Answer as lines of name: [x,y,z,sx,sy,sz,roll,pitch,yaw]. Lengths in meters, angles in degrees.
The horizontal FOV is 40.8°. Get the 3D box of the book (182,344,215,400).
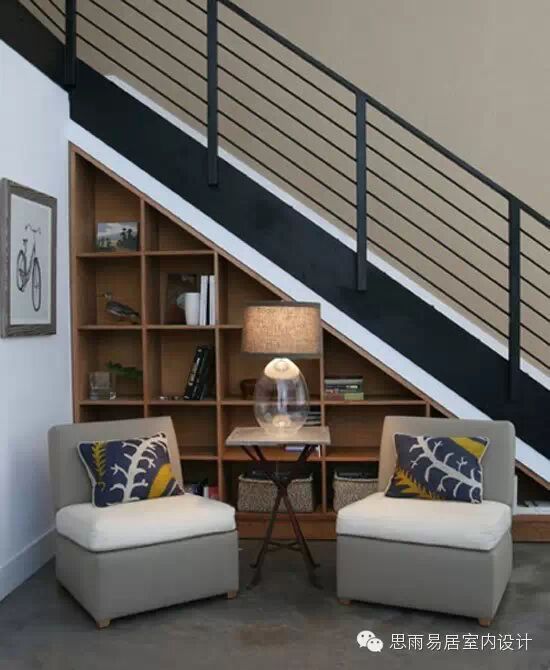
book: [-0.460,0.216,4.442,0.087,0.268,0.240,8,14,6]

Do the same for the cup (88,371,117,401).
cup: [-1.039,0.291,4.404,0.171,0.192,0.141,2,6,19]

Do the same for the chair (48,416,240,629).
chair: [-0.704,0.795,3.480,0.707,0.911,0.807,1,-7,-33]

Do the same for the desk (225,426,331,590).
desk: [0.041,0.826,3.725,0.595,0.982,0.644,0,-3,4]

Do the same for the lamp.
lamp: [0.030,0.166,3.487,0.368,0.654,0.277,0,6,0]

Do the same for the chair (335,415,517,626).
chair: [0.705,0.808,3.529,0.717,0.918,0.798,-2,-7,24]
